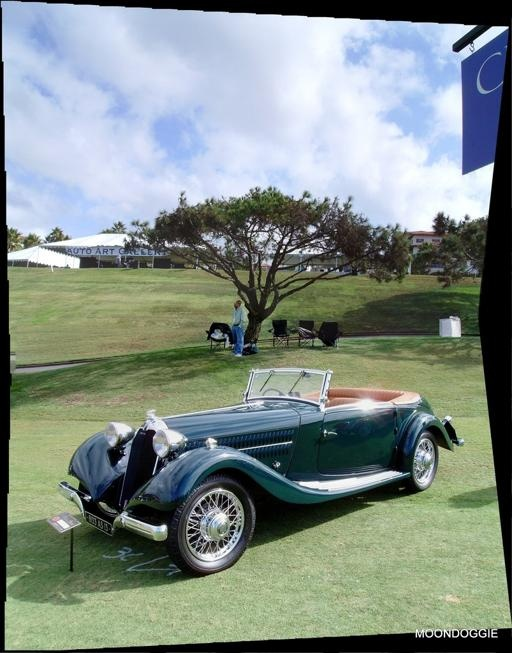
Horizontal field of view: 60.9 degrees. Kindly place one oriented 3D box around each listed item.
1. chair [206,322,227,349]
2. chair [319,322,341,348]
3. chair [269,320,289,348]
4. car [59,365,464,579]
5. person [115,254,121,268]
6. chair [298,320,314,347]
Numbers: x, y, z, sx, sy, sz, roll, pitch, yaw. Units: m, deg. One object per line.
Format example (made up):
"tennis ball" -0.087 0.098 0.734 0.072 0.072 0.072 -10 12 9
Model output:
"chair" -1.695 0.467 19.502 0.800 1.164 1.977 0 -4 -4
"chair" 3.138 0.398 18.765 0.897 1.087 0.406 3 -1 -1
"chair" 1.071 0.297 19.428 1.232 1.442 1.059 0 -8 -2
"car" 0.371 1.142 4.577 4.209 1.378 1.721 3 -5 -40
"person" -19.173 -8.871 60.552 0.684 1.533 2.368 1 -4 -19
"chair" 2.189 0.268 18.734 0.637 1.027 1.314 0 -3 6
